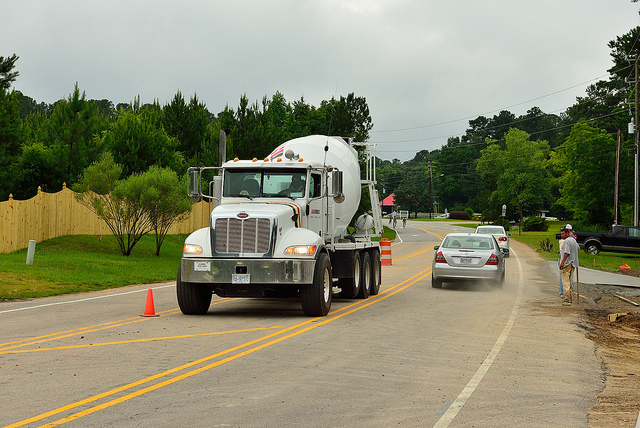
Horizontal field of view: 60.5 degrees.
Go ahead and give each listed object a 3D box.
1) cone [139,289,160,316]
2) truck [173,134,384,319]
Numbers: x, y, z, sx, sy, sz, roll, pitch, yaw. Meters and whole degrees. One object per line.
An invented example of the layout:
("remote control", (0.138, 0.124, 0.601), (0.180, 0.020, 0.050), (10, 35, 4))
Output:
("cone", (-4.627, 2.438, 14.944), (0.586, 0.728, 0.625), (1, -8, -8))
("truck", (-0.737, -0.032, 16.963), (3.556, 4.767, 7.363), (1, -1, 25))
